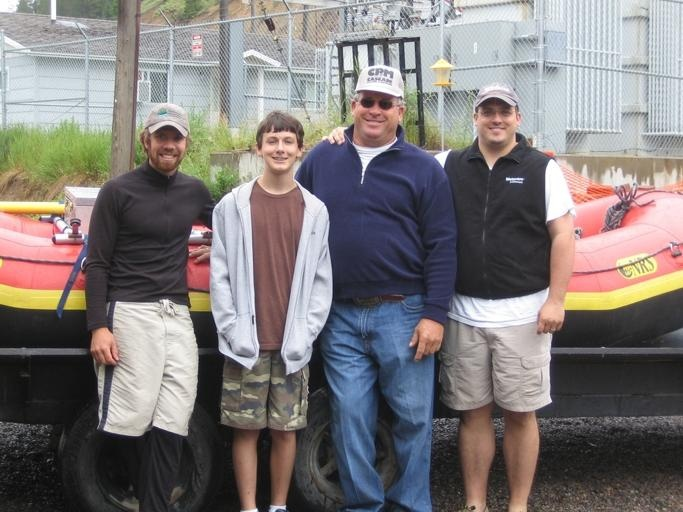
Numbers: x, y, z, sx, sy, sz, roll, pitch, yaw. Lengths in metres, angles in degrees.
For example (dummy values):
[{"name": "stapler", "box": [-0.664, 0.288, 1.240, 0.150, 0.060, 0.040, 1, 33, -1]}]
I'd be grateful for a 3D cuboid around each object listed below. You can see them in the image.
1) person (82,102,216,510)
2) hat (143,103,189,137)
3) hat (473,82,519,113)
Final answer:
[{"name": "person", "box": [-1.171, 0.306, 4.820, 0.761, 2.481, 0.446, -3, 6, -28]}, {"name": "hat", "box": [-1.106, -0.862, 4.960, 0.295, 0.247, 0.448, -1, 6, -11]}, {"name": "hat", "box": [1.023, -1.051, 5.123, 0.267, 0.188, 0.227, 1, 6, 6]}]
